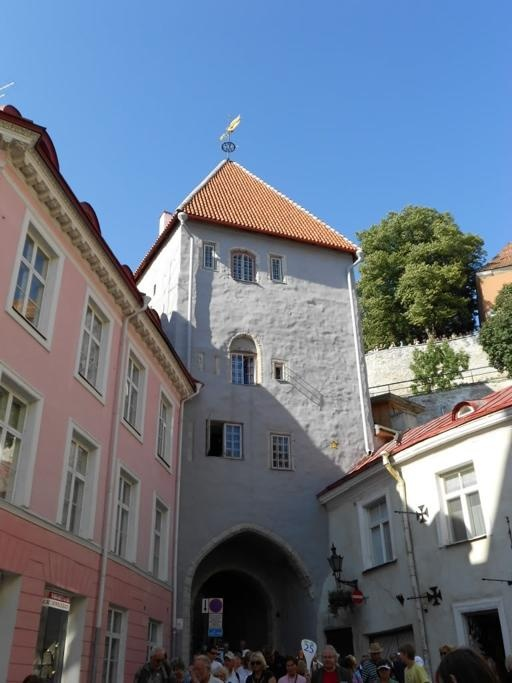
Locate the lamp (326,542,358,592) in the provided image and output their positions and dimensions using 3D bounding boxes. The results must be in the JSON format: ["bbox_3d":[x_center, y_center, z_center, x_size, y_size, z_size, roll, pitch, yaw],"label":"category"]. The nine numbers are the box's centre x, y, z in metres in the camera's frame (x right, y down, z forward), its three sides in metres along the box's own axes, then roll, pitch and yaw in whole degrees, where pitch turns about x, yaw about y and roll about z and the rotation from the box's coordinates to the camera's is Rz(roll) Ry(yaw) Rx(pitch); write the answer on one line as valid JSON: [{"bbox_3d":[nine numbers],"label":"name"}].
[{"bbox_3d":[2.643,7.256,17.115,0.735,1.508,1.493,1,-27,-6],"label":"lamp"}]
